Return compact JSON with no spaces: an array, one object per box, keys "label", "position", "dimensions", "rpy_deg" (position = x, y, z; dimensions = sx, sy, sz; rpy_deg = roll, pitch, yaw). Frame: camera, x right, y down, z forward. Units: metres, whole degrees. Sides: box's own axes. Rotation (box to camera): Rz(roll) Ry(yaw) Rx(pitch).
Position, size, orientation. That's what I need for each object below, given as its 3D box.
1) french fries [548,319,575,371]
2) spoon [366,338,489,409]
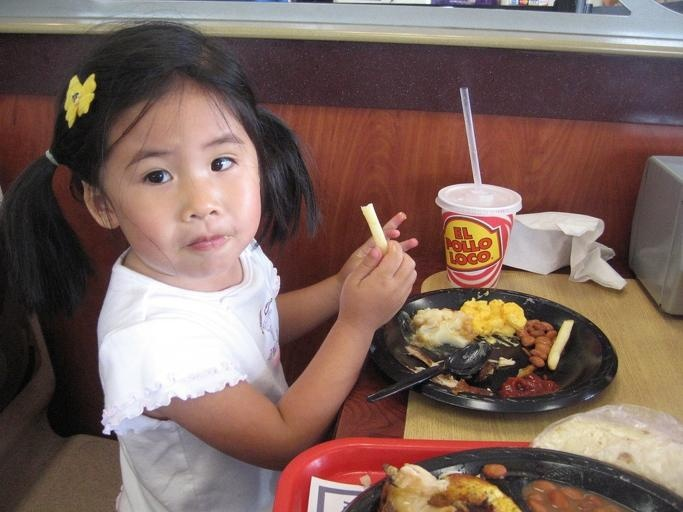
[{"label":"french fries","position":[0.458,0.181,1.120],"dimensions":[0.028,0.118,0.019],"rpy_deg":[19,9,9]},{"label":"spoon","position":[0.177,0.218,1.026],"dimensions":[0.307,0.031,0.090],"rpy_deg":[-12,23,-36]}]
